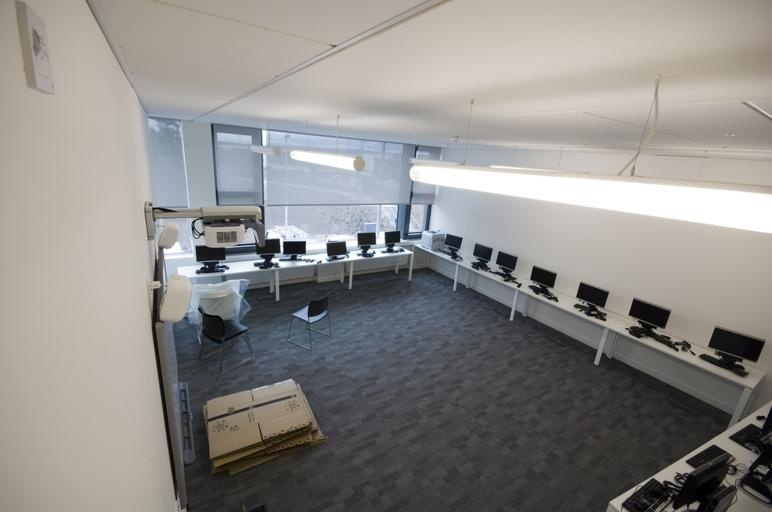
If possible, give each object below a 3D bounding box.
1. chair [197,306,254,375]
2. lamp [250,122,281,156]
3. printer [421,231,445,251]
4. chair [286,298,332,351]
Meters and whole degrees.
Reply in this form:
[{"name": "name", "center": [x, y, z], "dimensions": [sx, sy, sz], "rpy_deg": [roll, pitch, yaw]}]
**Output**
[{"name": "chair", "center": [-2.013, 0.975, 6.002], "dimensions": [0.471, 0.745, 0.517], "rpy_deg": [19, 25, 30]}, {"name": "lamp", "center": [-1.699, -1.637, 6.923], "dimensions": [0.365, 0.395, 1.572], "rpy_deg": [-1, 11, -10]}, {"name": "printer", "center": [0.958, -0.307, 9.831], "dimensions": [0.402, 0.384, 0.353], "rpy_deg": [5, -2, 38]}, {"name": "chair", "center": [-1.075, 0.985, 6.733], "dimensions": [0.382, 0.632, 0.399], "rpy_deg": [29, 37, 24]}]
